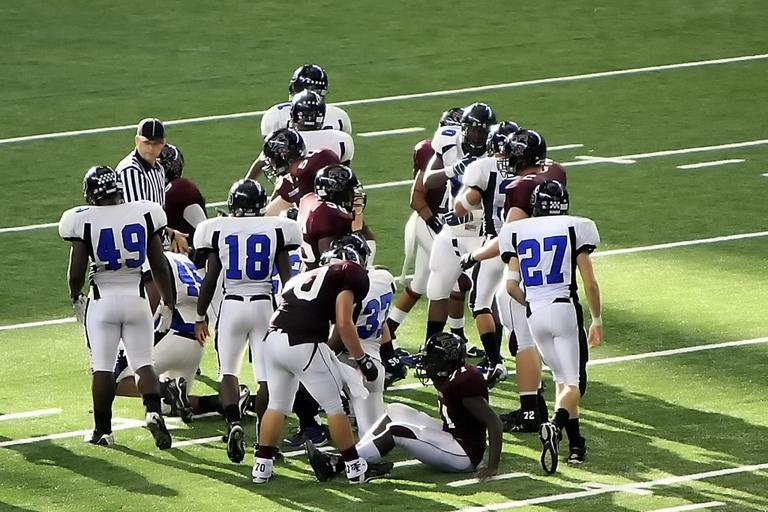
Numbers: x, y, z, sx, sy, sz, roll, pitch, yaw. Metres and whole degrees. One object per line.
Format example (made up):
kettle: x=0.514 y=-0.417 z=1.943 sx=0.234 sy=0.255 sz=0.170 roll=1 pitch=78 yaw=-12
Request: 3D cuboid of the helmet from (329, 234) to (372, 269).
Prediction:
helmet: x=-0.229 y=-0.086 z=9.811 sx=0.360 sy=0.242 sz=0.346 roll=-22 pitch=-5 yaw=20

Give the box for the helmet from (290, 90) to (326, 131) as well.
helmet: x=-0.843 y=-1.563 z=11.876 sx=0.400 sy=0.404 sz=0.449 roll=0 pitch=21 yaw=-11

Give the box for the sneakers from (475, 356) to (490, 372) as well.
sneakers: x=1.041 y=1.147 z=11.592 sx=0.127 sy=0.136 sz=0.151 roll=-1 pitch=-20 yaw=4

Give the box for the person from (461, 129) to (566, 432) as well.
person: x=1.110 y=0.241 z=10.824 sx=1.198 sy=2.924 sz=1.060 roll=5 pitch=12 yaw=16

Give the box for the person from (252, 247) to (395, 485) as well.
person: x=-0.594 y=0.991 z=9.465 sx=1.179 sy=1.914 sz=0.471 roll=-2 pitch=11 yaw=-1

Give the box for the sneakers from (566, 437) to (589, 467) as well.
sneakers: x=1.732 y=1.746 z=9.814 sx=0.128 sy=0.111 sz=0.311 roll=2 pitch=12 yaw=24

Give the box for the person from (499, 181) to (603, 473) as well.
person: x=1.544 y=0.598 z=9.853 sx=0.857 sy=2.478 sz=1.066 roll=-3 pitch=11 yaw=-4

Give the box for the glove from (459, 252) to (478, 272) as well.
glove: x=0.830 y=0.039 z=10.863 sx=0.186 sy=0.184 sz=0.135 roll=-5 pitch=42 yaw=4

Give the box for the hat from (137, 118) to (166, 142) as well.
hat: x=-2.445 y=-1.313 z=11.465 sx=0.258 sy=0.183 sz=0.359 roll=7 pitch=14 yaw=-30

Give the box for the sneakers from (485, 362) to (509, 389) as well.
sneakers: x=1.168 y=1.228 z=11.432 sx=0.157 sy=0.167 sz=0.430 roll=-17 pitch=-5 yaw=9

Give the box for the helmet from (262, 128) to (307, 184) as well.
helmet: x=-1.117 y=-1.015 z=11.112 sx=0.537 sy=0.434 sz=0.393 roll=-15 pitch=15 yaw=19

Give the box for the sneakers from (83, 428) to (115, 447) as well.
sneakers: x=-2.645 y=1.671 z=10.233 sx=0.330 sy=0.120 sz=0.119 roll=8 pitch=9 yaw=27

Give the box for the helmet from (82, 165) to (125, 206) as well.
helmet: x=-2.613 y=-0.670 z=10.240 sx=0.316 sy=0.306 sz=0.396 roll=-6 pitch=6 yaw=-28

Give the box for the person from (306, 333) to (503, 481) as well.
person: x=0.174 y=1.358 z=9.739 sx=1.717 sy=1.017 sz=0.883 roll=-7 pitch=4 yaw=2

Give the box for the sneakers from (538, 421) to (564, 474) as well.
sneakers: x=1.457 y=1.654 z=9.633 sx=0.169 sy=0.470 sz=0.248 roll=-1 pitch=11 yaw=8

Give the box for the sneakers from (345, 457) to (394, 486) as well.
sneakers: x=-0.145 y=1.852 z=9.494 sx=0.357 sy=0.207 sz=0.123 roll=-14 pitch=35 yaw=-14

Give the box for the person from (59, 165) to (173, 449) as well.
person: x=-2.461 y=0.470 z=10.116 sx=0.925 sy=2.554 sz=0.679 roll=-3 pitch=11 yaw=-3

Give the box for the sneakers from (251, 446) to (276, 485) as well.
sneakers: x=-1.049 y=1.792 z=9.604 sx=0.156 sy=0.153 sz=0.400 roll=2 pitch=4 yaw=4

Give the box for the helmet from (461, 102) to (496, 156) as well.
helmet: x=0.982 y=-1.360 z=11.825 sx=0.479 sy=0.507 sz=0.532 roll=6 pitch=-23 yaw=-2

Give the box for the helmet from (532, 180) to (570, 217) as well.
helmet: x=1.502 y=-0.527 z=10.028 sx=0.315 sy=0.276 sz=0.341 roll=2 pitch=21 yaw=0

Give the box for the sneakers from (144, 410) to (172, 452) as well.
sneakers: x=-2.030 y=1.563 z=10.044 sx=0.166 sy=0.402 sz=0.178 roll=-29 pitch=9 yaw=13

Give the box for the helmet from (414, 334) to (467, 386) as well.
helmet: x=0.493 y=0.884 z=9.701 sx=0.538 sy=0.412 sz=0.374 roll=1 pitch=2 yaw=0

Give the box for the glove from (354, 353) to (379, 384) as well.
glove: x=-0.154 y=0.964 z=9.525 sx=0.106 sy=0.274 sz=0.156 roll=-17 pitch=23 yaw=42

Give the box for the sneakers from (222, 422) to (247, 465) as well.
sneakers: x=-1.349 y=1.652 z=9.821 sx=0.174 sy=0.357 sz=0.173 roll=-5 pitch=15 yaw=-7

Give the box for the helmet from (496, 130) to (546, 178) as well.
helmet: x=1.336 y=-1.012 z=10.657 sx=0.509 sy=0.416 sz=0.405 roll=15 pitch=23 yaw=34

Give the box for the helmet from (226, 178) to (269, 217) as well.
helmet: x=-1.248 y=-0.552 z=10.111 sx=0.319 sy=0.302 sz=0.378 roll=-3 pitch=16 yaw=-22

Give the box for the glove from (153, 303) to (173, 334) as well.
glove: x=-2.127 y=0.592 z=10.592 sx=0.228 sy=0.257 sz=0.121 roll=5 pitch=11 yaw=6
